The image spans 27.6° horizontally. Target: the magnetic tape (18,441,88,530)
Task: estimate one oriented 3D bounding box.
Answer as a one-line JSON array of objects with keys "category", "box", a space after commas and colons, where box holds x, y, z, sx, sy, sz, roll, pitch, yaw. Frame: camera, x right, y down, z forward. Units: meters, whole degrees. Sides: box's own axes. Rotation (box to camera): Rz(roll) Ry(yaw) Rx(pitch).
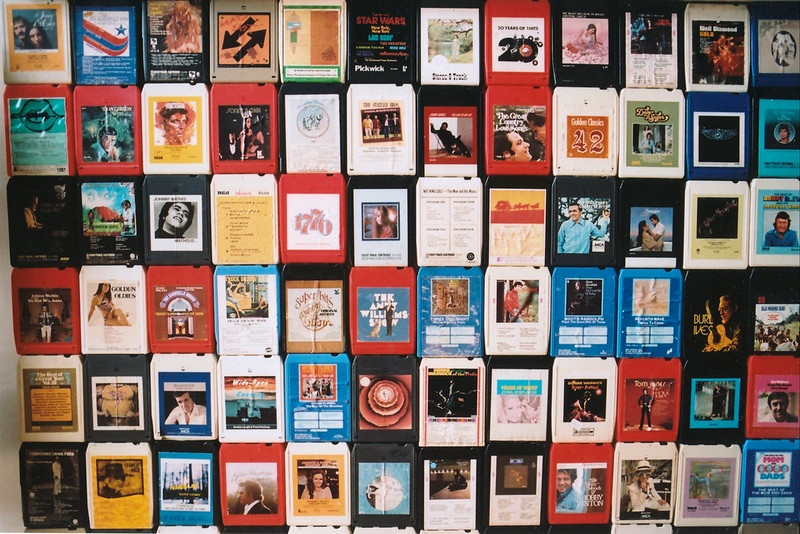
[{"category": "magnetic tape", "box": [-2.143, 1.376, 10.126, 0.481, 0.495, 0.487, 0, -1, 2]}]
